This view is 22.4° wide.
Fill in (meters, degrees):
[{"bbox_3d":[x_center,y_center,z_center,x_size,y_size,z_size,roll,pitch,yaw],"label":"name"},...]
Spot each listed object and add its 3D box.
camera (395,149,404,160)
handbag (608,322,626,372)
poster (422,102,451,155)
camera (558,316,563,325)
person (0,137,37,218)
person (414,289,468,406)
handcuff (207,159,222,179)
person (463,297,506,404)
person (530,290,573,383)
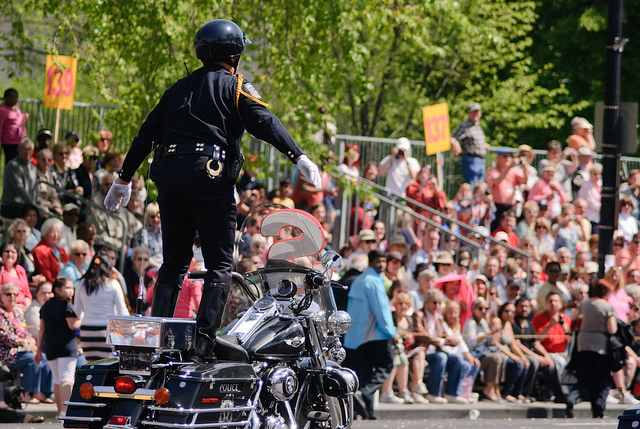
[{"bbox_3d":[1.728,-1.287,34.558,0.134,0.194,0.048,45,26,28],"label":"camera"},{"bbox_3d":[5.641,2.497,30.488,0.468,0.920,0.154,3,-3,-42],"label":"handbag"},{"bbox_3d":[2.501,-1.840,34.372,0.558,1.081,0.602,1,-2,4],"label":"poster"},{"bbox_3d":[4.730,2.080,31.636,0.118,0.177,0.056,5,-3,-1],"label":"camera"},{"bbox_3d":[-5.814,-0.703,31.147,0.662,1.527,0.389,1,-2,-12],"label":"person"},{"bbox_3d":[2.285,2.492,30.459,1.023,2.120,0.319,2,-2,-26],"label":"person"},{"bbox_3d":[-1.593,-0.691,24.559,0.220,0.276,0.057,1,-2,-4],"label":"handcuff"},{"bbox_3d":[3.170,2.609,30.946,0.827,1.946,0.313,1,-2,8],"label":"person"},{"bbox_3d":[4.590,2.354,31.547,0.956,1.719,0.539,3,-2,-37],"label":"person"}]
